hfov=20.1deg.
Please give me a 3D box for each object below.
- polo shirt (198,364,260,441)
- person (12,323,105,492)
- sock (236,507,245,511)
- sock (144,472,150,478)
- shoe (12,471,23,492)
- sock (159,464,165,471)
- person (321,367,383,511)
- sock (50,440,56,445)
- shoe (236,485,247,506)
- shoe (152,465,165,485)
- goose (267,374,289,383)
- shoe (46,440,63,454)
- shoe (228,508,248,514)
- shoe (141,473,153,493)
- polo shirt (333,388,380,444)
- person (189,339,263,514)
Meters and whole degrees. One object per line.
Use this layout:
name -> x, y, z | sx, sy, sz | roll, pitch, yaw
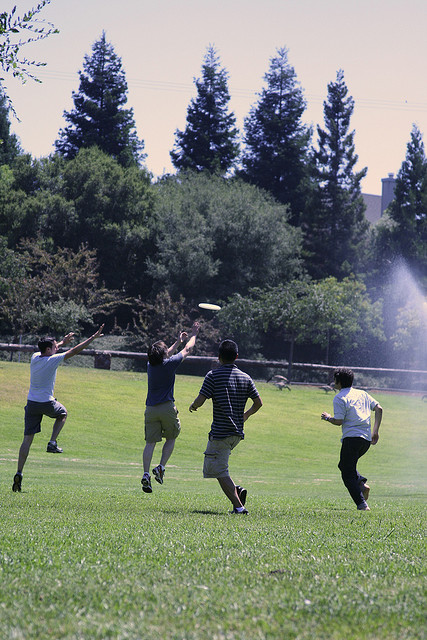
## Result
polo shirt -> 0.152, 0.700, 10.886 | 0.434, 0.730, 0.402 | -1, 3, -20
person -> -1.625, 0.931, 12.253 | 0.598, 1.637, 1.592 | 7, -1, -7
sock -> 0.245, 1.694, 10.722 | 0.068, 0.026, 0.048 | 8, -2, -34
sock -> -0.619, 1.464, 11.338 | 0.018, 0.039, 0.056 | 6, 14, 17
shoe -> -1.870, 1.562, 11.558 | 0.077, 0.194, 0.133 | 7, -1, -22
sock -> -0.481, 1.398, 11.348 | 0.013, 0.053, 0.040 | -11, -6, 19
person -> 1.309, 1.146, 11.590 | 0.550, 1.252, 0.700 | 7, -1, 6
sock -> -1.616, 1.255, 12.217 | 0.038, 0.051, 0.030 | -5, 22, 34
shoe -> 0.255, 1.609, 10.965 | 0.063, 0.185, 0.078 | -6, 31, -7
shoe -> -0.507, 1.475, 11.390 | 0.074, 0.089, 0.208 | 4, -43, 26
goose -> 1.969, 1.778, 36.551 | 0.246, 0.292, 0.959 | 2, -7, -15
shoe -> -1.615, 1.315, 12.306 | 0.143, 0.120, 0.208 | 7, -1, -21
shoe -> 0.222, 1.712, 10.743 | 0.136, 0.058, 0.047 | 6, -2, 18
shoe -> -0.638, 1.556, 11.343 | 0.075, 0.092, 0.201 | -5, -43, 11
polo shirt -> 1.344, 0.887, 11.530 | 0.323, 0.576, 0.260 | -4, 2, 2
person -> 0.088, 0.957, 10.891 | 0.600, 1.478, 0.401 | 7, -1, 0
